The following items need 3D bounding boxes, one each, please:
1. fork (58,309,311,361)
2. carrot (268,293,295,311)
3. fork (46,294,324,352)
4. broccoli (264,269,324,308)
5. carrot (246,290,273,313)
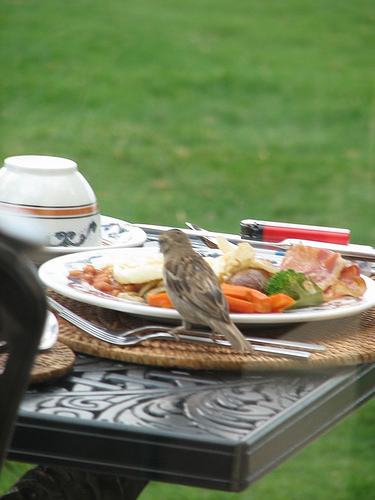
[{"bbox_3d":[-0.001,0.052,0.336,0.175,0.020,0.016,4,-9,8],"label":"fork"},{"bbox_3d":[0.065,0.036,0.386,0.016,0.013,0.011,-8,-31,7],"label":"carrot"},{"bbox_3d":[-0.021,0.052,0.381,0.250,0.028,0.023,-3,-15,39],"label":"fork"},{"bbox_3d":[0.079,0.027,0.417,0.038,0.024,0.042,-2,11,-30],"label":"broccoli"},{"bbox_3d":[0.049,0.037,0.399,0.016,0.006,0.014,18,11,-20],"label":"carrot"}]
